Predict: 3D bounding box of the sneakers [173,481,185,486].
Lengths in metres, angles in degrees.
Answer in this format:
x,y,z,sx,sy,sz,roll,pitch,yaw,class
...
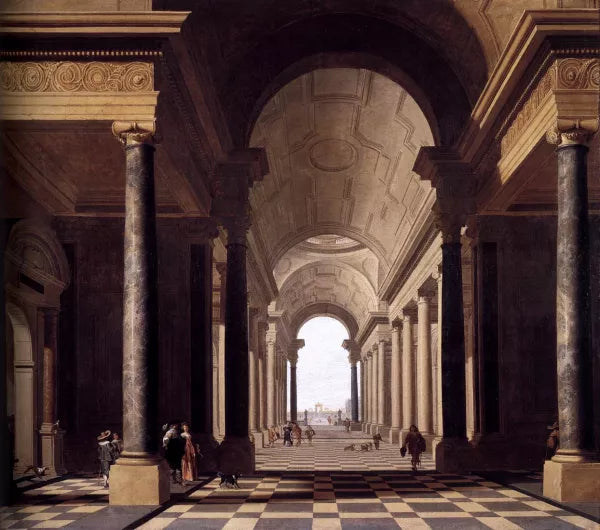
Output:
x,y,z,sx,sy,sz,roll,pitch,yaw,class
-2.550,4.623,15.999,0.262,0.123,0.105,-3,-9,18,sneakers

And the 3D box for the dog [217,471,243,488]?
x,y,z,sx,sy,sz,roll,pitch,yaw,class
-1.468,4.477,15.715,0.418,0.313,0.929,0,-16,-5,dog

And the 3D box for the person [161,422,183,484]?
x,y,z,sx,sy,sz,roll,pitch,yaw,class
-2.742,4.057,16.351,0.450,1.268,0.550,2,-14,-12,person

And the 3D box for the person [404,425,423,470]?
x,y,z,sx,sy,sz,roll,pitch,yaw,class
3.002,4.709,19.702,0.470,1.280,0.312,-6,17,-9,person

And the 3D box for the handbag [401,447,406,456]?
x,y,z,sx,sy,sz,roll,pitch,yaw,class
2.836,5.184,20.875,0.192,0.316,0.101,2,-1,-21,handbag
